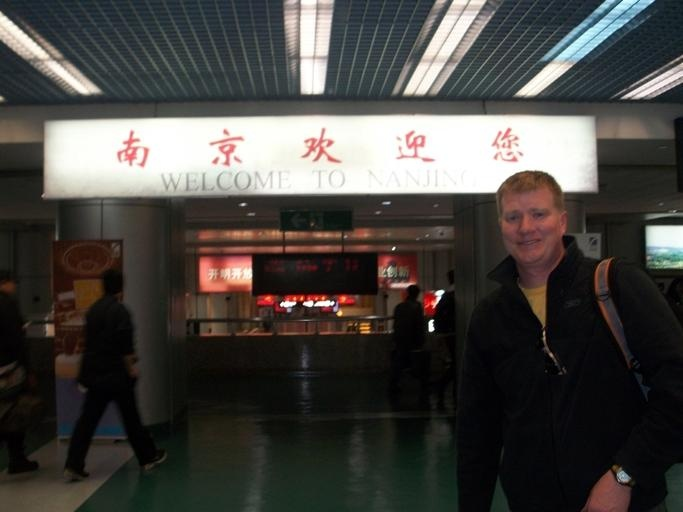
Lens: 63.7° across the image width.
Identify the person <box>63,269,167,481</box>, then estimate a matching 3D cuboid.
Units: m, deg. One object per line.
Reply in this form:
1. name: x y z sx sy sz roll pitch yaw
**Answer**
1. person: -2.059 1.068 4.981 0.783 1.871 0.336 1 -3 -27
